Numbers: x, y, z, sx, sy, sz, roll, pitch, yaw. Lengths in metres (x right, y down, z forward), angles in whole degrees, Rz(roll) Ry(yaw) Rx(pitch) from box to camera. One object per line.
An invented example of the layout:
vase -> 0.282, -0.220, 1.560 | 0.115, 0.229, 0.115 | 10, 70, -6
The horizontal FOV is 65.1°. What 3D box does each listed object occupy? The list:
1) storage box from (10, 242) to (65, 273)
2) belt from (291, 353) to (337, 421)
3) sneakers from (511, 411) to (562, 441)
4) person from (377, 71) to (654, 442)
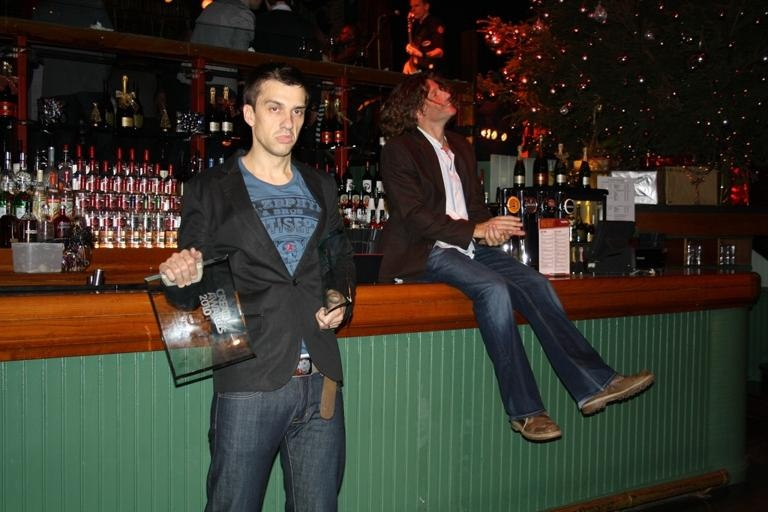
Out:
storage box -> -1.857, -0.017, 3.194 | 0.191, 0.134, 0.186 | -1, 4, -39
belt -> -0.233, 0.456, 2.185 | 0.138, 0.244, 0.063 | 5, 0, 0
sneakers -> 0.729, 0.809, 2.908 | 0.108, 0.124, 0.252 | -3, -3, -33
person -> 0.538, -0.105, 3.219 | 1.343, 1.925, 0.692 | 0, 3, 23
